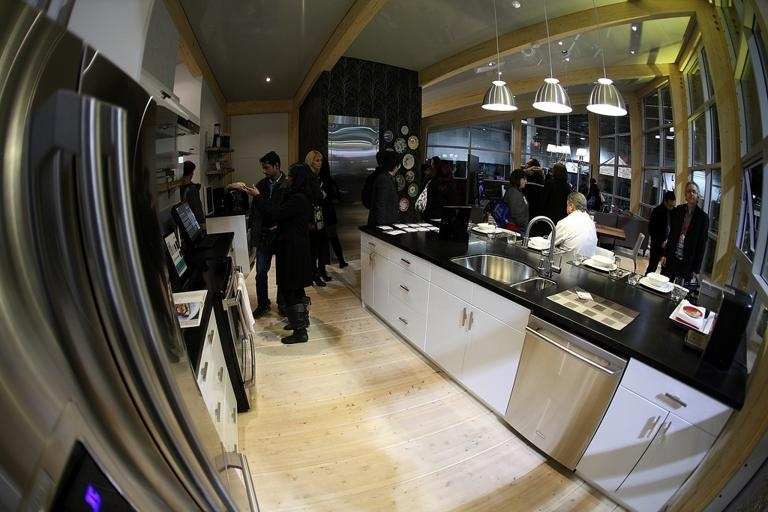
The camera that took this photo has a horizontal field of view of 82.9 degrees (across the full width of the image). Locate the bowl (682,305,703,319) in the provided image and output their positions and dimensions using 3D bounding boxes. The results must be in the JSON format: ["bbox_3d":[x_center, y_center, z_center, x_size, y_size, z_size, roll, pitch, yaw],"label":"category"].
[{"bbox_3d":[1.511,0.276,2.132,0.086,0.025,0.140,8,14,36],"label":"bowl"}]

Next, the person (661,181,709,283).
[{"bbox_3d":[2.551,-0.186,3.658,0.262,0.861,0.583,5,13,27],"label":"person"}]

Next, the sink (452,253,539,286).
[{"bbox_3d":[0.850,0.091,3.123,0.285,0.136,0.353,-9,23,-33],"label":"sink"}]

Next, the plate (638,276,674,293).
[{"bbox_3d":[1.604,0.166,2.579,0.179,0.080,0.125,8,14,35],"label":"plate"}]

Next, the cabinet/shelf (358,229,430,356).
[{"bbox_3d":[0.096,0.310,3.606,0.330,0.655,0.864,-1,16,-29],"label":"cabinet/shelf"}]

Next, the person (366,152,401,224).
[{"bbox_3d":[-0.021,-0.701,4.505,0.286,1.044,0.491,-6,48,-6],"label":"person"}]

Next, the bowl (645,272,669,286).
[{"bbox_3d":[1.620,0.131,2.587,0.079,0.031,0.084,10,22,-4],"label":"bowl"}]

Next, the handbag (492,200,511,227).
[{"bbox_3d":[1.432,-0.506,5.296,0.203,0.299,0.394,-3,-14,0],"label":"handbag"}]

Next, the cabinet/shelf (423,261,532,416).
[{"bbox_3d":[0.585,0.538,2.736,0.394,0.711,0.689,-7,27,-37],"label":"cabinet/shelf"}]
